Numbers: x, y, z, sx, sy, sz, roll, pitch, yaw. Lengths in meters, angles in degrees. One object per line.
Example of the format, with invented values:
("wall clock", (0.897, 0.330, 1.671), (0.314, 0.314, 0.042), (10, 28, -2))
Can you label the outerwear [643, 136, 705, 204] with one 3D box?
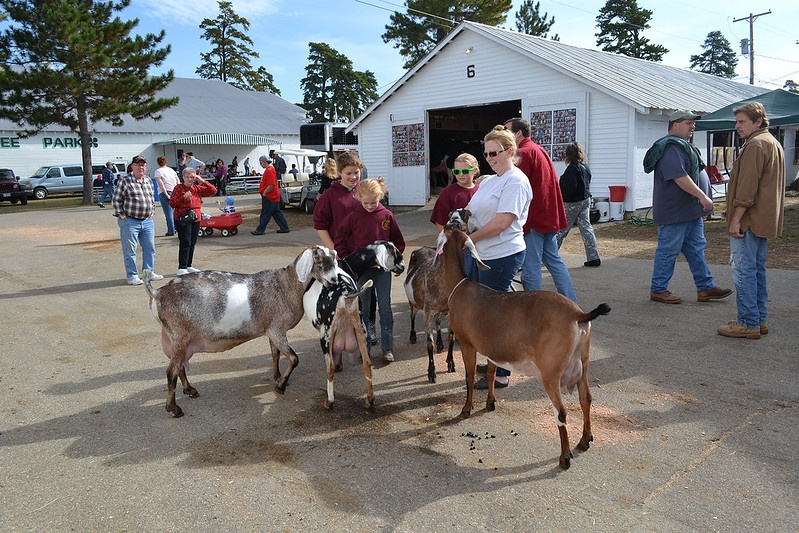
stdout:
("outerwear", (4.023, -1.472, 9.076), (0.984, 1.076, 1.026), (-16, 20, -38))

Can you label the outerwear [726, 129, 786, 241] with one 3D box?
("outerwear", (4.517, -1.030, 7.469), (0.744, 1.349, 0.422), (-2, 10, -2))

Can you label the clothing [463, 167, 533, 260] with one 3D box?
("clothing", (1.125, -0.555, 6.599), (0.579, 1.118, 1.078), (1, 5, -16))

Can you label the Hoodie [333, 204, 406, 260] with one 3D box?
("Hoodie", (-0.412, -0.419, 7.351), (0.871, 0.828, 0.369), (1, 9, -8))

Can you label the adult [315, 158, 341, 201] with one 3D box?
("adult", (-1.558, -1.729, 13.137), (0.510, 1.574, 0.445), (-4, 38, -13))

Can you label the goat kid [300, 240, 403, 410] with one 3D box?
("goat kid", (-0.578, 0.601, 6.847), (0.973, 1.670, 1.222), (-1, 10, 5))

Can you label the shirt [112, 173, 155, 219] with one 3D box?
("shirt", (-4.949, -1.312, 11.088), (0.706, 0.859, 0.402), (-7, 12, -27))

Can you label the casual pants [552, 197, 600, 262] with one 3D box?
("casual pants", (3.320, -0.780, 11.142), (0.966, 1.699, 0.355), (4, 41, 13))

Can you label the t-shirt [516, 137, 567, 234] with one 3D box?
("t-shirt", (1.685, -0.948, 7.461), (0.552, 1.270, 0.918), (2, 13, 39))

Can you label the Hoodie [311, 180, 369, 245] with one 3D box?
("Hoodie", (-0.729, -0.709, 7.738), (0.801, 0.810, 0.339), (-1, 13, -33))

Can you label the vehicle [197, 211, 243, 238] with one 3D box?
("vehicle", (-4.973, -1.209, 16.786), (1.041, 0.694, 0.634), (2, 9, 10))

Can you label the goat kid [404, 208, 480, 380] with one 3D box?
("goat kid", (0.480, 0.275, 7.726), (0.756, 2.064, 2.491), (1, 11, -7))

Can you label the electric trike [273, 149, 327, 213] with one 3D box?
("electric trike", (-3.897, -3.486, 23.667), (1.550, 2.295, 3.424), (-15, 17, -36))

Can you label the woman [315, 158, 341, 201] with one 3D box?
("woman", (-1.554, -1.689, 13.065), (0.498, 1.517, 0.396), (-7, 36, -18))

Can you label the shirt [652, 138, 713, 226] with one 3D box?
("shirt", (4.154, -1.328, 8.903), (0.704, 1.293, 1.138), (-1, 8, 27))
